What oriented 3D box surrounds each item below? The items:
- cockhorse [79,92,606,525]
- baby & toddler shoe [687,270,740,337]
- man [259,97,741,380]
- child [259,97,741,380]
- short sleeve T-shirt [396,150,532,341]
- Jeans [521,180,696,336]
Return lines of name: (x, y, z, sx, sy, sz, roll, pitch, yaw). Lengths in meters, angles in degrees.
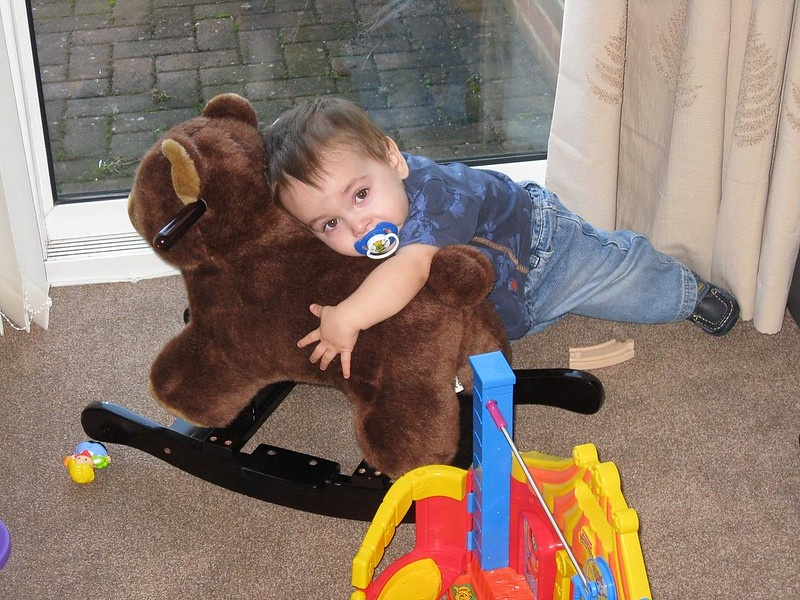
cockhorse: (-0.144, -0.005, 1.433, 0.829, 0.609, 0.526, 9, 33, 11)
baby & toddler shoe: (0.725, 0.006, 1.857, 0.057, 0.100, 0.177, 19, 22, -27)
man: (0.202, -0.109, 1.568, 0.833, 0.424, 0.477, -3, 14, -12)
child: (0.236, -0.091, 1.534, 0.786, 0.404, 0.529, -1, 22, -2)
short sleeve T-shirt: (0.086, -0.117, 1.570, 0.345, 0.272, 0.332, -7, 14, -40)
Jeans: (0.419, -0.072, 1.811, 0.416, 0.276, 0.182, 15, -1, -15)
